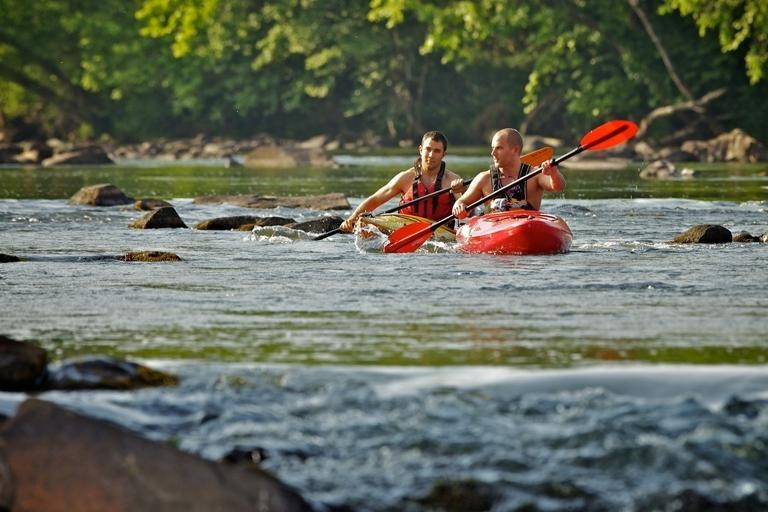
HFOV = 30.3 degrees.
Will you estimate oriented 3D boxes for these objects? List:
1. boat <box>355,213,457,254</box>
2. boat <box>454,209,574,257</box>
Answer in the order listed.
[{"bbox_3d":[0.715,-0.628,35.109,3.001,0.870,0.688,4,11,-3],"label":"boat"},{"bbox_3d":[3.218,-0.595,34.514,2.708,0.983,0.808,2,12,5],"label":"boat"}]
